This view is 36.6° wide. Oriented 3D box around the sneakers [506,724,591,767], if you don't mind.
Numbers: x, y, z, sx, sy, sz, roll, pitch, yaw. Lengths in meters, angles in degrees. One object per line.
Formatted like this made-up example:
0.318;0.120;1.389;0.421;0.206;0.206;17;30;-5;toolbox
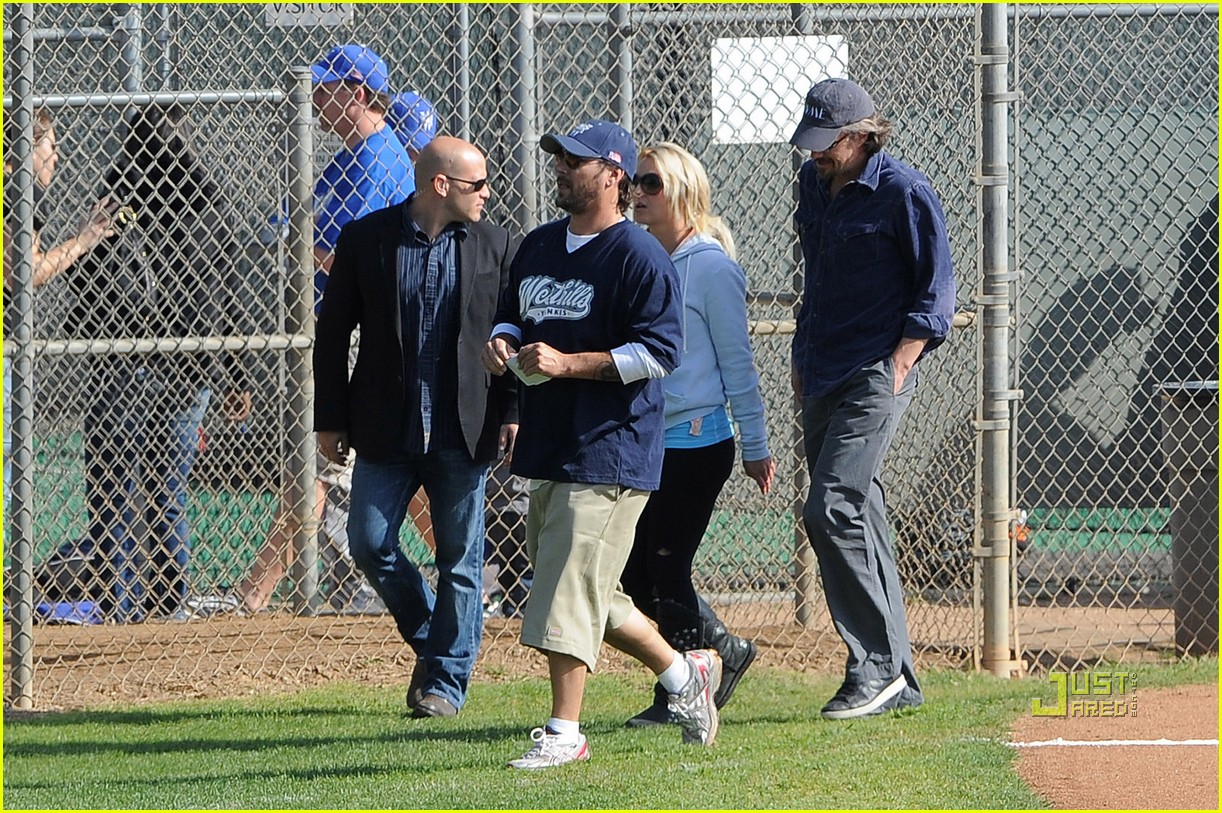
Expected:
-0.266;1.635;8.884;0.439;0.213;0.154;2;-4;-22;sneakers

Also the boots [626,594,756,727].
0.387;1.333;9.479;0.214;0.591;0.393;22;-14;45;boots

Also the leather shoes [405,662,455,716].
-0.898;1.543;9.793;0.149;0.287;0.388;10;-13;-34;leather shoes

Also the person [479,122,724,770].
-0.075;0.174;8.910;1.033;3.039;0.619;-1;8;-5;person

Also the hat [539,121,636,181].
-0.099;-1.235;8.904;0.362;0.199;0.252;13;5;-26;hat
